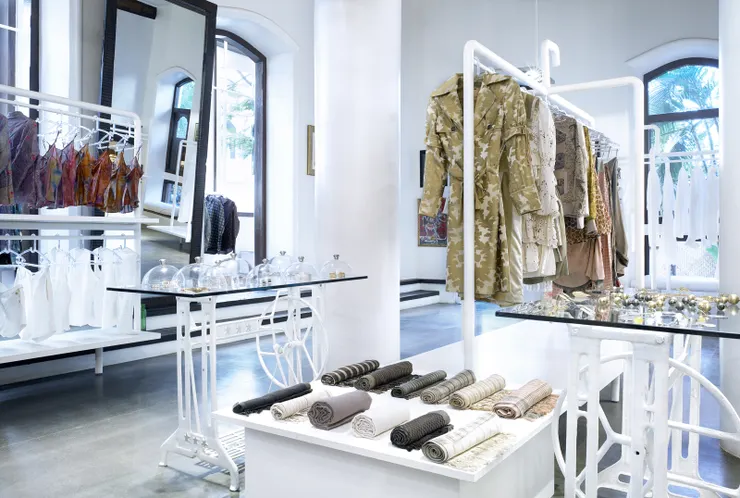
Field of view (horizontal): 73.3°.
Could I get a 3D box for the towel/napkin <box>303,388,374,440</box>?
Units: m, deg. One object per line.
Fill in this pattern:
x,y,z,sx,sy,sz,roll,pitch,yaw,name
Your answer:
-0.130,0.786,2.380,0.133,0.093,0.237,-1,1,29,towel/napkin

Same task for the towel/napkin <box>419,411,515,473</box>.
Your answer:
0.457,0.820,2.153,0.474,0.098,0.205,-5,7,-44,towel/napkin

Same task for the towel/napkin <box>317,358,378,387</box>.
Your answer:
-0.108,0.681,2.842,0.113,0.068,0.357,2,4,32,towel/napkin

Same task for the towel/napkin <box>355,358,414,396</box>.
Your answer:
0.081,0.696,2.791,0.112,0.098,0.406,-1,2,32,towel/napkin

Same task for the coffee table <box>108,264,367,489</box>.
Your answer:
-0.954,0.855,3.407,0.472,0.897,1.321,0,-1,27,coffee table

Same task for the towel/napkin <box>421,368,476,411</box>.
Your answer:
0.424,0.761,2.636,0.108,0.132,0.464,-21,11,-18,towel/napkin

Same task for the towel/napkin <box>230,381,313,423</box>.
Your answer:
-0.490,0.741,2.527,0.149,0.051,0.305,6,10,40,towel/napkin

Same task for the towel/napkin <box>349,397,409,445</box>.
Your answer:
0.057,0.784,2.306,0.124,0.085,0.222,7,10,36,towel/napkin

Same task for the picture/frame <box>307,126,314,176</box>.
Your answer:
-0.929,-1.554,7.786,0.078,0.797,0.165,2,5,16,picture/frame

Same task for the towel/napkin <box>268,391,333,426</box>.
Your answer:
-0.344,0.762,2.474,0.098,0.084,0.339,-6,0,32,towel/napkin

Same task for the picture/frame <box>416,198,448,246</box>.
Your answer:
1.213,-0.507,9.780,0.557,0.937,0.397,0,5,3,picture/frame

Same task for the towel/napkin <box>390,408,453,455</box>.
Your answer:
0.235,0.799,2.210,0.123,0.057,0.203,7,10,41,towel/napkin

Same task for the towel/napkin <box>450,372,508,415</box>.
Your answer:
0.563,0.739,2.613,0.340,0.098,0.082,-7,-27,-38,towel/napkin

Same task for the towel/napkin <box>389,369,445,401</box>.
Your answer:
0.275,0.705,2.711,0.102,0.063,0.389,7,8,33,towel/napkin
